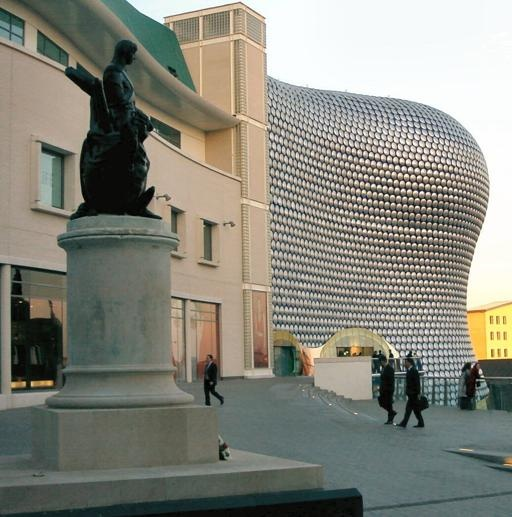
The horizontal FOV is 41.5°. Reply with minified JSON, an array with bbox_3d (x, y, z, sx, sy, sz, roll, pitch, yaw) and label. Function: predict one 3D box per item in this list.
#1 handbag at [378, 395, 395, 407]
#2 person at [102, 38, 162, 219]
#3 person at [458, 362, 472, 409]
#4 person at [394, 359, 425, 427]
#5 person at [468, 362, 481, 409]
[{"bbox_3d":[2.841,3.069,14.695,0.254,0.374,0.290,-5,-7,33],"label":"handbag"},{"bbox_3d":[-1.085,-1.167,5.830,0.484,1.713,0.548,2,-7,-14],"label":"person"},{"bbox_3d":[5.983,3.562,19.162,0.254,1.366,0.276,3,11,27],"label":"person"},{"bbox_3d":[3.334,2.842,14.416,0.521,1.426,2.079,-2,-7,13],"label":"person"},{"bbox_3d":[6.050,3.543,18.763,0.377,1.278,1.083,-2,-7,18],"label":"person"}]
